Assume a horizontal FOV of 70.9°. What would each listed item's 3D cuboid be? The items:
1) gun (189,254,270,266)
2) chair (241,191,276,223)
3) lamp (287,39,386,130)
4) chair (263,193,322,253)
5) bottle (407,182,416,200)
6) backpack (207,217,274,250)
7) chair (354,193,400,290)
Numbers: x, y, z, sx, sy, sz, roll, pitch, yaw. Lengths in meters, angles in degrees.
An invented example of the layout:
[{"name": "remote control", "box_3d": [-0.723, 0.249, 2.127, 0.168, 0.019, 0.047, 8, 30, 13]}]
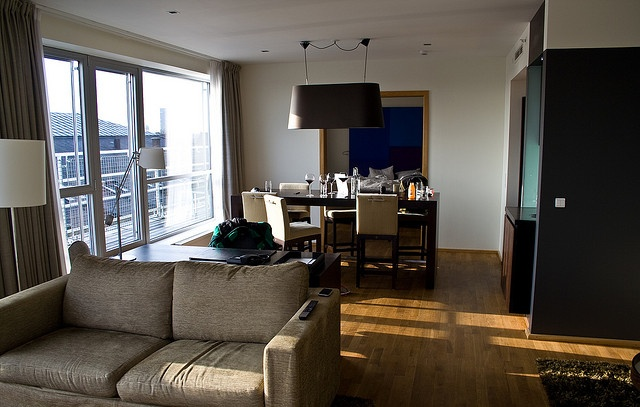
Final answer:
[{"name": "gun", "box_3d": [-0.881, 0.523, 4.211, 0.699, 0.073, 0.241, 0, -1, 11]}, {"name": "chair", "box_3d": [-0.943, 0.059, 6.378, 0.436, 0.534, 0.410, 0, 3, 25]}, {"name": "lamp", "box_3d": [0.282, -1.816, 6.746, 1.501, 1.235, 0.573, 0, 6, 6]}, {"name": "chair", "box_3d": [-0.336, 0.207, 6.400, 0.811, 1.148, 0.673, -7, 11, -24]}, {"name": "bottle", "box_3d": [1.261, -0.174, 6.172, 0.102, 0.215, 0.282, 1, 6, 11]}, {"name": "backpack", "box_3d": [-0.879, 0.346, 5.147, 0.523, 0.247, 0.647, 0, 0, -2]}, {"name": "chair", "box_3d": [0.775, 0.495, 6.171, 0.561, 1.278, 0.508, 1, 7, 11]}]
